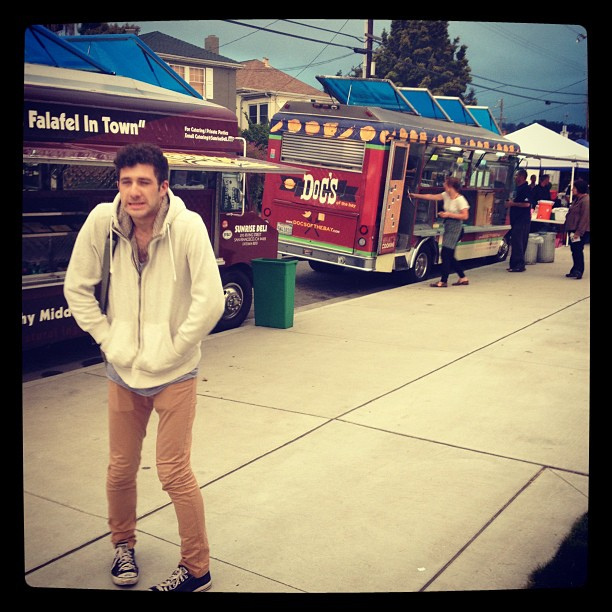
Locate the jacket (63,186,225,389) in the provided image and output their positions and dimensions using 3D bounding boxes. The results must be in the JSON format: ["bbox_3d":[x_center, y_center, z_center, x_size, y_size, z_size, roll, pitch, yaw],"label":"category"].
[{"bbox_3d":[-0.761,-0.084,2.751,0.713,0.905,0.361,-3,12,-15],"label":"jacket"}]

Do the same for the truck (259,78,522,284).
[{"bbox_3d":[2.919,-3.099,14.595,3.497,3.937,8.202,17,19,35],"label":"truck"}]

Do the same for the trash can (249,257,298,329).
[{"bbox_3d":[-0.473,-0.172,8.299,0.607,0.960,0.335,1,12,1],"label":"trash can"}]

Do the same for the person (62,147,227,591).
[{"bbox_3d":[-0.740,0.304,2.789,0.739,2.059,0.485,10,15,37],"label":"person"}]

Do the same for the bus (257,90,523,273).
[{"bbox_3d":[2.486,-2.810,14.436,3.707,3.471,7.344,13,16,33],"label":"bus"}]

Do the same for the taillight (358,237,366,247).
[{"bbox_3d":[1.064,-1.220,11.244,0.158,0.146,0.039,9,10,35],"label":"taillight"}]

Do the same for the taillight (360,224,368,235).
[{"bbox_3d":[1.088,-1.448,11.179,0.159,0.147,0.039,-2,-1,39],"label":"taillight"}]

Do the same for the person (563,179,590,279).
[{"bbox_3d":[6.141,-1.743,13.396,0.503,2.205,1.543,6,13,23],"label":"person"}]
